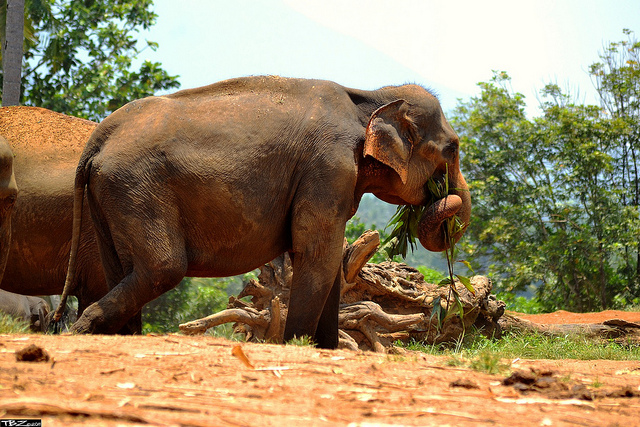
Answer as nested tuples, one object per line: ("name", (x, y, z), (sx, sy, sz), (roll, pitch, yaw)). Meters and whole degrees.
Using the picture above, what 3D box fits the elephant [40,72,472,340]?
("elephant", (-0.560, 0.097, 9.982), (5.845, 3.797, 2.182), (-2, 6, -21))

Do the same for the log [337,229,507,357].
("log", (1.539, 1.655, 12.868), (4.647, 2.148, 2.395), (1, -2, -7))

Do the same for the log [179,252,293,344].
("log", (-1.045, 1.440, 12.057), (2.445, 0.885, 1.719), (-17, -27, -4))
